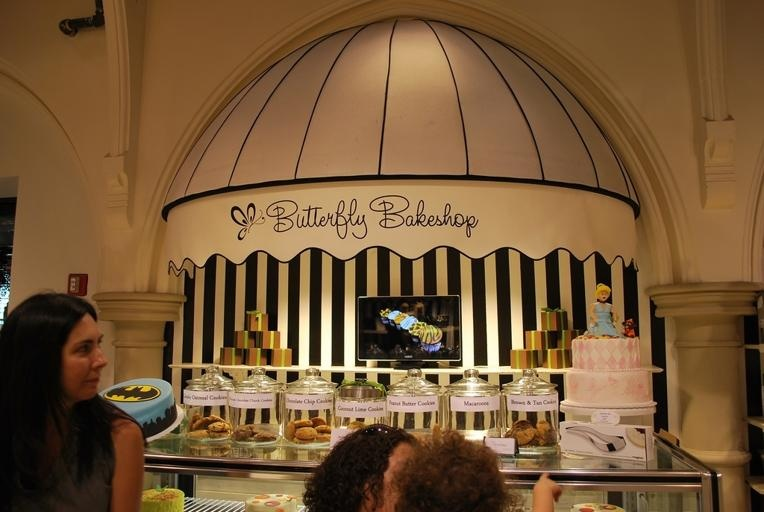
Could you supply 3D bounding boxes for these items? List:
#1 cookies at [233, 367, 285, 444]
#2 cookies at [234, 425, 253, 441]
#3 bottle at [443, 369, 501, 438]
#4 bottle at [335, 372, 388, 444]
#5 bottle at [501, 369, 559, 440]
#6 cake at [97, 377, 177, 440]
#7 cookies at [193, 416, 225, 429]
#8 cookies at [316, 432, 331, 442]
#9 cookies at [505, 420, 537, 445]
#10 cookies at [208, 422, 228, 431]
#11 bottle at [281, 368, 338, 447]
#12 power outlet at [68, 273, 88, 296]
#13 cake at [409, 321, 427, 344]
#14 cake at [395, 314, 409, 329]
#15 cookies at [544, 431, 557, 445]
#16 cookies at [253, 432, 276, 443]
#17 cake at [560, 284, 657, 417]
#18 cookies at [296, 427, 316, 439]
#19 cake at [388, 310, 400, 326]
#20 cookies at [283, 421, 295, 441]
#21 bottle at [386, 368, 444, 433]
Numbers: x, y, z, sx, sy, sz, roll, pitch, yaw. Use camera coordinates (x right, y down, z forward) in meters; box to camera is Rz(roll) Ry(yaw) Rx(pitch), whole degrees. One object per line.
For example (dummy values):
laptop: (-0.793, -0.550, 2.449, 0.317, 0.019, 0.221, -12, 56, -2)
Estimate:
cookies: (-0.662, 0.750, 3.546, 0.311, 0.368, 0.316, 8, -8, -40)
cookies: (-0.675, 0.866, 3.379, 0.069, 0.029, 0.073, -1, 1, 1)
bottle: (0.428, 0.699, 3.252, 0.254, 0.295, 0.256, 3, -9, -17)
bottle: (-0.112, 0.716, 3.222, 0.256, 0.382, 0.245, 0, -10, 0)
bottle: (0.756, 0.727, 3.399, 0.308, 0.365, 0.308, -4, -8, 30)
cake: (-1.095, 0.697, 3.120, 0.375, 0.126, 0.382, 3, 8, -10)
cookies: (-0.858, 0.842, 3.467, 0.108, 0.040, 0.081, 5, -1, -9)
cookies: (-0.277, 0.864, 3.324, 0.044, 0.011, 0.045, 2, 6, 26)
cookies: (0.652, 0.831, 3.261, 0.119, 0.103, 0.048, 1, -6, -8)
cookies: (-0.811, 0.851, 3.443, 0.060, 0.020, 0.046, 4, 20, -31)
bottle: (-0.366, 0.737, 3.380, 0.282, 0.410, 0.277, 0, -13, 0)
power outlet: (-2.443, 0.236, 5.570, 0.163, 0.172, 0.055, 3, -4, 4)
cake: (0.261, 0.571, 5.097, 0.096, 0.135, 0.040, -3, -15, -4)
cake: (0.142, 0.484, 5.112, 0.090, 0.105, 0.055, 2, -4, -1)
cookies: (0.808, 0.873, 3.312, 0.054, 0.072, 0.043, -15, -34, -6)
cookies: (-0.566, 0.874, 3.369, 0.060, 0.018, 0.058, 6, 1, -37)
cake: (0.983, 0.494, 3.492, 0.536, 0.767, 0.550, 0, -10, 6)
cookies: (-0.363, 0.853, 3.321, 0.064, 0.020, 0.056, 2, 12, 11)
cake: (0.077, 0.460, 5.100, 0.059, 0.100, 0.034, -3, -13, 32)
cookies: (-0.448, 0.851, 3.363, 0.021, 0.083, 0.063, 1, 13, -41)
bottle: (0.142, 0.668, 3.214, 0.255, 0.297, 0.258, 2, -9, -12)
